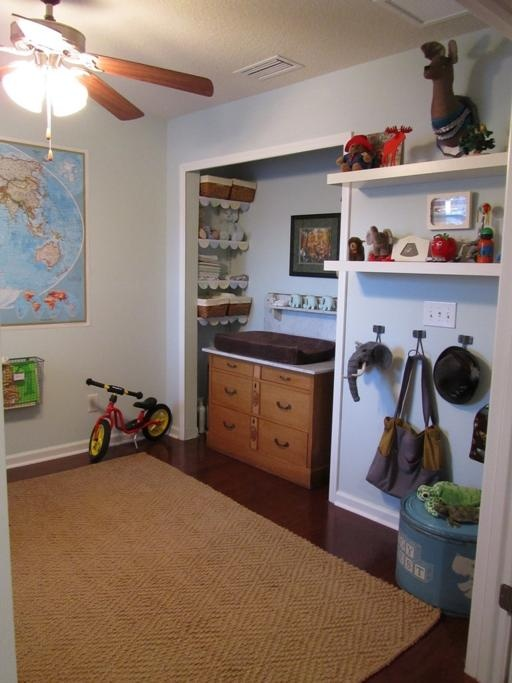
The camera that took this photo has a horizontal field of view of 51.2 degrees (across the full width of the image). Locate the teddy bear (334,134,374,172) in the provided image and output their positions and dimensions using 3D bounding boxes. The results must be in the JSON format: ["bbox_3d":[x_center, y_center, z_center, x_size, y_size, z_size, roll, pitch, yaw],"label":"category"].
[{"bbox_3d":[0.477,-0.888,2.518,0.111,0.186,0.188,-3,9,-37],"label":"teddy bear"}]

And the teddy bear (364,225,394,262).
[{"bbox_3d":[0.599,-0.472,2.577,0.146,0.166,0.146,8,9,42],"label":"teddy bear"}]

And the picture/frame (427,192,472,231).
[{"bbox_3d":[0.847,-0.569,2.321,0.024,0.151,0.178,-7,11,-37],"label":"picture/frame"}]

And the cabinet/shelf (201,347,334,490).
[{"bbox_3d":[0.124,0.476,3.658,0.407,0.731,1.048,-4,9,-43],"label":"cabinet/shelf"}]

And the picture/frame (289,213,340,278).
[{"bbox_3d":[0.418,-0.682,3.738,0.026,0.546,0.554,-6,11,-36],"label":"picture/frame"}]

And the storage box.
[{"bbox_3d":[0.763,0.856,2.150,0.354,0.357,0.327,2,11,9],"label":"storage box"}]

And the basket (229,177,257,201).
[{"bbox_3d":[-0.106,-1.171,4.171,0.183,0.112,0.185,0,8,-35],"label":"basket"}]

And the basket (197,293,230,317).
[{"bbox_3d":[-0.323,-0.279,4.094,0.207,0.097,0.149,-12,16,-39],"label":"basket"}]

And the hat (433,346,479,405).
[{"bbox_3d":[0.871,0.148,2.327,0.075,0.229,0.196,0,-14,-29],"label":"hat"}]

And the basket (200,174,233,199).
[{"bbox_3d":[-0.294,-1.141,3.964,0.162,0.186,0.301,13,15,42],"label":"basket"}]

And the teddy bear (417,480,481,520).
[{"bbox_3d":[0.760,0.640,2.131,0.199,0.067,0.142,9,10,42],"label":"teddy bear"}]

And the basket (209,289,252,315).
[{"bbox_3d":[-0.165,-0.316,4.243,0.187,0.115,0.252,5,11,16],"label":"basket"}]

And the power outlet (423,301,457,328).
[{"bbox_3d":[0.837,-0.126,2.416,0.013,0.095,0.116,-11,17,-38],"label":"power outlet"}]

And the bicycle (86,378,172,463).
[{"bbox_3d":[-0.899,0.523,3.767,0.383,0.510,0.803,16,13,30],"label":"bicycle"}]

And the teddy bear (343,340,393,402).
[{"bbox_3d":[0.581,0.148,2.735,0.185,0.310,0.275,-8,11,-20],"label":"teddy bear"}]
